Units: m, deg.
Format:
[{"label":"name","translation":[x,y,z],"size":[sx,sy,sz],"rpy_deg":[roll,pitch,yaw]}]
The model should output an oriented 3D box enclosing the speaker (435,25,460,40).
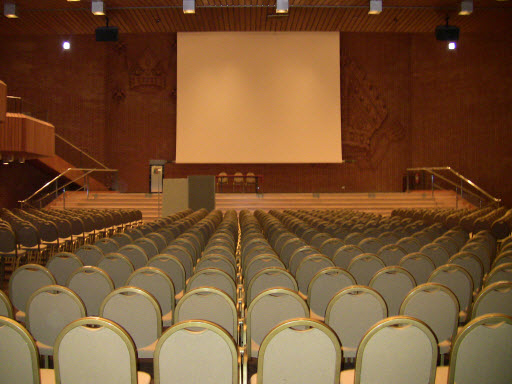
[{"label":"speaker","translation":[6.454,-5.395,14.660],"size":[0.686,0.366,0.599],"rpy_deg":[1,-76,10]}]
